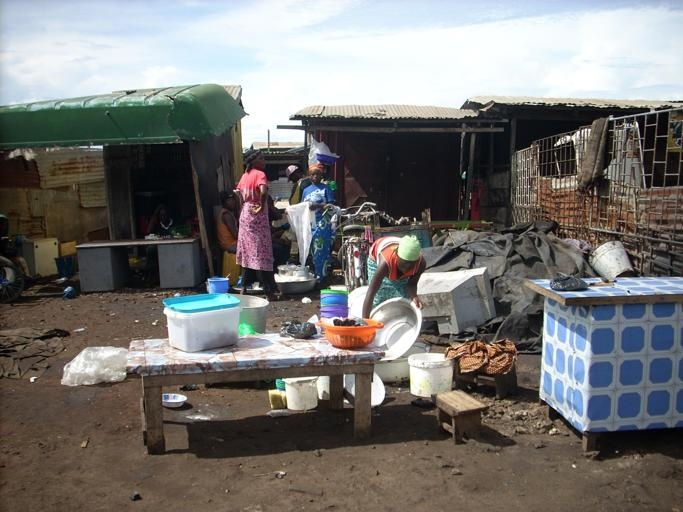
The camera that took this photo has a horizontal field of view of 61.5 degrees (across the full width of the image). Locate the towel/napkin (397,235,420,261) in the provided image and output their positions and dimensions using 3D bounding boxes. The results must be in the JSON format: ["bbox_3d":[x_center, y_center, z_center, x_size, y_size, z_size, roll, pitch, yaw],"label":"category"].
[{"bbox_3d":[0.740,-0.086,6.185,0.223,0.213,0.285,4,10,1],"label":"towel/napkin"}]

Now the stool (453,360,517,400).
[{"bbox_3d":[1.549,1.177,6.086,0.413,0.361,0.582,-9,9,-41],"label":"stool"}]

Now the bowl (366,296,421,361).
[{"bbox_3d":[0.586,0.794,6.173,0.663,0.621,0.251,-22,-35,29],"label":"bowl"}]

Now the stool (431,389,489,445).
[{"bbox_3d":[1.138,1.424,5.403,0.372,0.344,0.561,-1,3,-16],"label":"stool"}]

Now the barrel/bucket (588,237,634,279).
[{"bbox_3d":[3.989,0.052,8.380,0.563,0.436,0.576,-9,-16,-3],"label":"barrel/bucket"}]

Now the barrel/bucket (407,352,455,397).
[{"bbox_3d":[0.930,1.216,6.077,0.487,0.334,0.463,0,2,0],"label":"barrel/bucket"}]

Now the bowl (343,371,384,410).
[{"bbox_3d":[0.232,1.363,5.833,0.433,0.406,0.149,5,6,42],"label":"bowl"}]

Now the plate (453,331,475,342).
[{"bbox_3d":[1.573,1.022,7.262,0.282,0.085,0.401,-1,9,11],"label":"plate"}]

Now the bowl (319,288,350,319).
[{"bbox_3d":[-0.094,0.606,7.272,0.365,0.326,0.345,1,-2,0],"label":"bowl"}]

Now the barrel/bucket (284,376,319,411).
[{"bbox_3d":[-0.403,1.371,5.973,0.399,0.314,0.404,-1,-1,0],"label":"barrel/bucket"}]

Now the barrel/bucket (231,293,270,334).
[{"bbox_3d":[-1.023,0.611,6.321,0.412,0.402,0.398,2,5,0],"label":"barrel/bucket"}]

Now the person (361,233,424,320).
[{"bbox_3d":[0.594,0.264,6.581,0.756,0.866,1.256,-7,-29,0],"label":"person"}]

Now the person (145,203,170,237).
[{"bbox_3d":[-3.975,-0.773,12.397,0.584,0.926,0.959,2,4,-7],"label":"person"}]

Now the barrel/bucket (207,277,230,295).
[{"bbox_3d":[-1.835,0.432,8.595,0.353,0.245,0.320,3,-3,-39],"label":"barrel/bucket"}]
